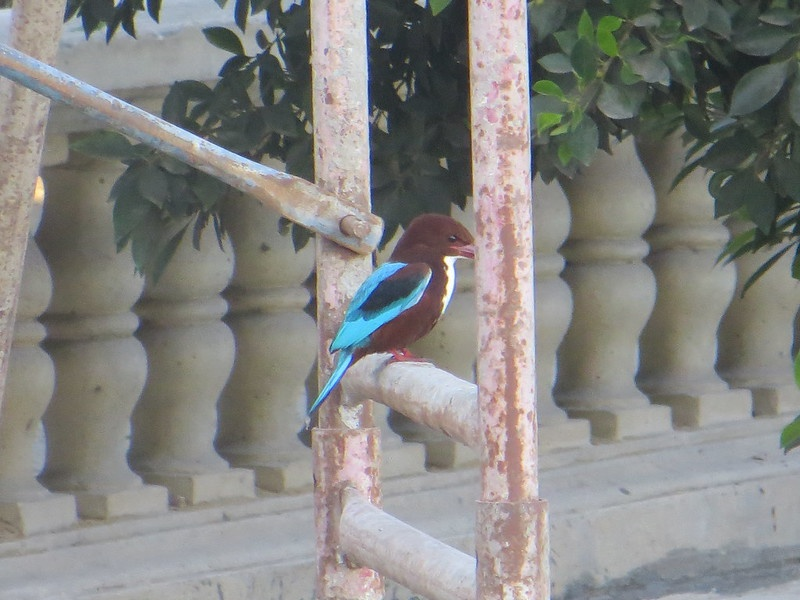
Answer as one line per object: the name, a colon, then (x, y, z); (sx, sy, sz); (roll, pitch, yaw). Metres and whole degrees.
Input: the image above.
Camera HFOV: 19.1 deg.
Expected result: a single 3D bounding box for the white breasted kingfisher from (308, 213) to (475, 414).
white breasted kingfisher: (0.001, 0.017, 5.784); (0.308, 0.483, 0.598); (-3, 0, 13)
